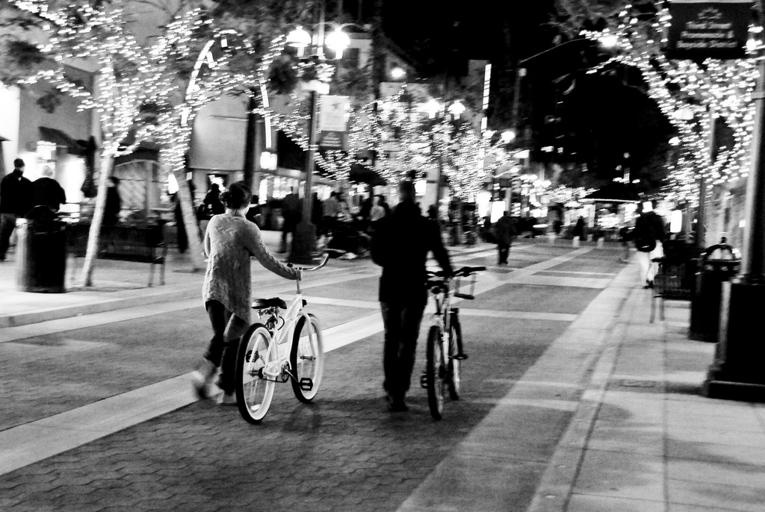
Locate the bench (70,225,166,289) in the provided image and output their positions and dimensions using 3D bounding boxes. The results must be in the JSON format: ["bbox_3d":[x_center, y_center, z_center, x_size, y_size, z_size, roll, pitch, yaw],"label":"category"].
[{"bbox_3d":[-6.633,0.038,18.628,1.827,0.969,0.566,6,12,26],"label":"bench"}]

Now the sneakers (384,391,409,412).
[{"bbox_3d":[0.158,1.659,8.447,0.260,0.239,0.234,-2,-1,-7],"label":"sneakers"}]
